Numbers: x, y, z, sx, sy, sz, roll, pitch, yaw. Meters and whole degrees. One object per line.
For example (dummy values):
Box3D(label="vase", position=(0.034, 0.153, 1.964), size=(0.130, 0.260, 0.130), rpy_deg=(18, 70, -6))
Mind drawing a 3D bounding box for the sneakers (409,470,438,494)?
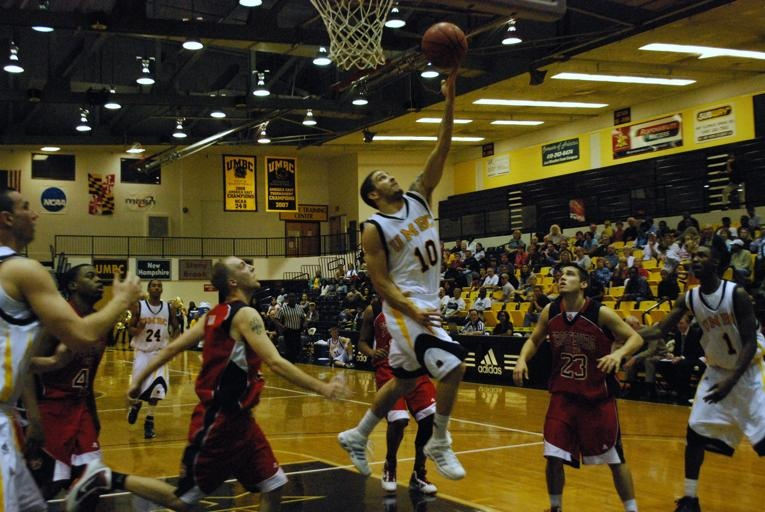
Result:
Box3D(label="sneakers", position=(0.426, 2.382, 7.133), size=(0.134, 0.177, 0.391), rpy_deg=(3, -5, -29))

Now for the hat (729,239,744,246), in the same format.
Box3D(label="hat", position=(7.834, -0.299, 14.900), size=(0.304, 0.103, 0.208), rpy_deg=(12, -11, -33))

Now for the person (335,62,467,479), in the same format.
Box3D(label="person", position=(0.252, 0.190, 6.333), size=(1.141, 3.864, 0.709), rpy_deg=(0, 0, 23))
